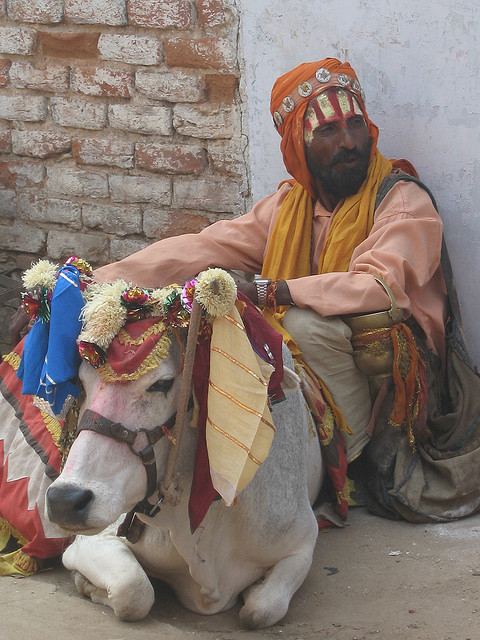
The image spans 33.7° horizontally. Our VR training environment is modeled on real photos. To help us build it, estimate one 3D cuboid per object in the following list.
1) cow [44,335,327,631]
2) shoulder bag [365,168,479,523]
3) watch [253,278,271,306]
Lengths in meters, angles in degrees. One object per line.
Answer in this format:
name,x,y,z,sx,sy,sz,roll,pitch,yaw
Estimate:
cow,-0.154,0.502,2.443,0.736,0.694,1.127,-10,-4,17
shoulder bag,0.762,0.213,3.279,0.448,1.114,0.596,2,4,8
watch,0.086,-0.115,3.097,0.080,0.100,0.102,1,15,5
